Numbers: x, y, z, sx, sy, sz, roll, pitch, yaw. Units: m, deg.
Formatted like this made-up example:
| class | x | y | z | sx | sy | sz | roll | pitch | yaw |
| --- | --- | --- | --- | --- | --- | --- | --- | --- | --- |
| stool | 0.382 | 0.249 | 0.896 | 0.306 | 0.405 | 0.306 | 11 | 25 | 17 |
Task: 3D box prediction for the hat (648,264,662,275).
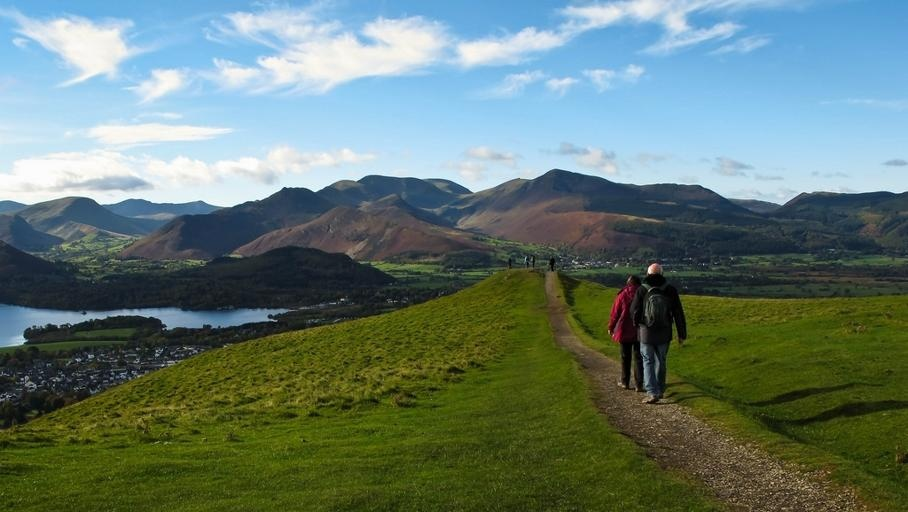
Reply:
| class | x | y | z | sx | sy | sz | roll | pitch | yaw |
| --- | --- | --- | --- | --- | --- | --- | --- | --- | --- |
| hat | 11.650 | 0.745 | 37.513 | 0.766 | 0.732 | 0.835 | 7 | 3 | 9 |
